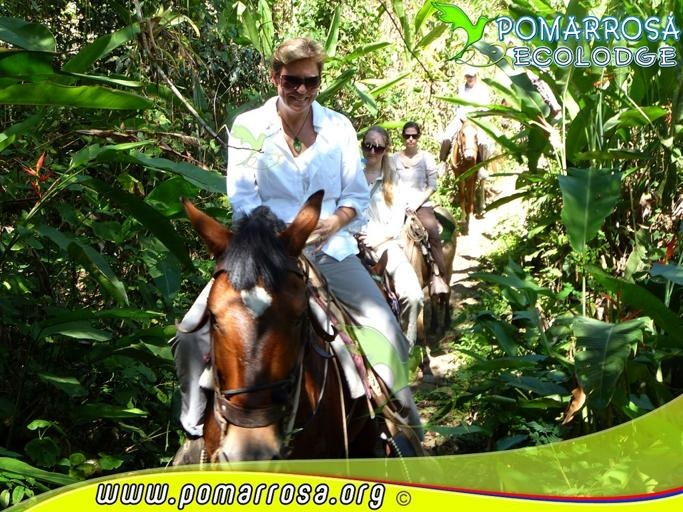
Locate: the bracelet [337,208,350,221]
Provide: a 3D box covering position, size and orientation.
[{"bbox_3d":[0.021,-0.307,4.153,0.089,0.088,0.097,24,14,40],"label":"bracelet"}]

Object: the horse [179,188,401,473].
[{"bbox_3d":[-0.293,0.524,3.450,0.550,1.806,1.158,2,6,45],"label":"horse"}]

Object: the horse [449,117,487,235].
[{"bbox_3d":[3.168,-2.034,14.447,0.799,2.287,3.299,0,3,11],"label":"horse"}]
